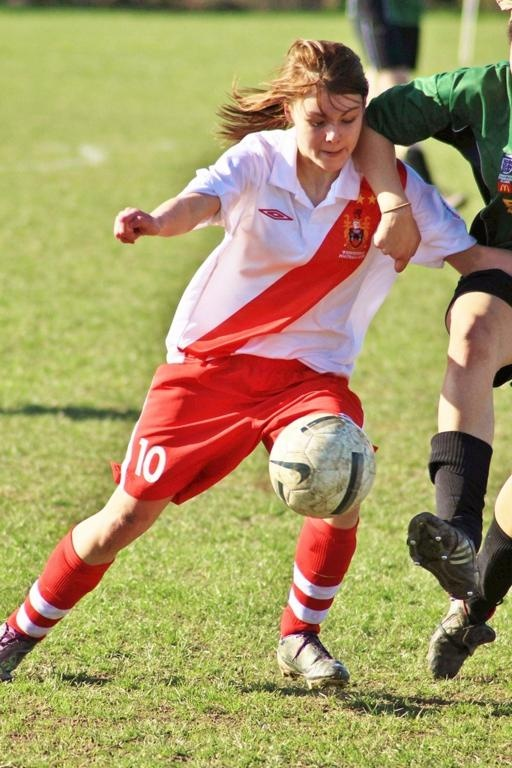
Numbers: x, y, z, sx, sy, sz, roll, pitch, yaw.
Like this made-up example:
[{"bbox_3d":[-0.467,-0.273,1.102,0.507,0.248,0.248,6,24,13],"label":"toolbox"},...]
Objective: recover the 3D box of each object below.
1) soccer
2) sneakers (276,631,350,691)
[{"bbox_3d":[0.147,0.193,1.972,0.235,0.234,0.178,2,15,0],"label":"soccer"},{"bbox_3d":[0.148,0.732,2.331,0.133,0.135,0.308,5,-7,-27],"label":"sneakers"}]
